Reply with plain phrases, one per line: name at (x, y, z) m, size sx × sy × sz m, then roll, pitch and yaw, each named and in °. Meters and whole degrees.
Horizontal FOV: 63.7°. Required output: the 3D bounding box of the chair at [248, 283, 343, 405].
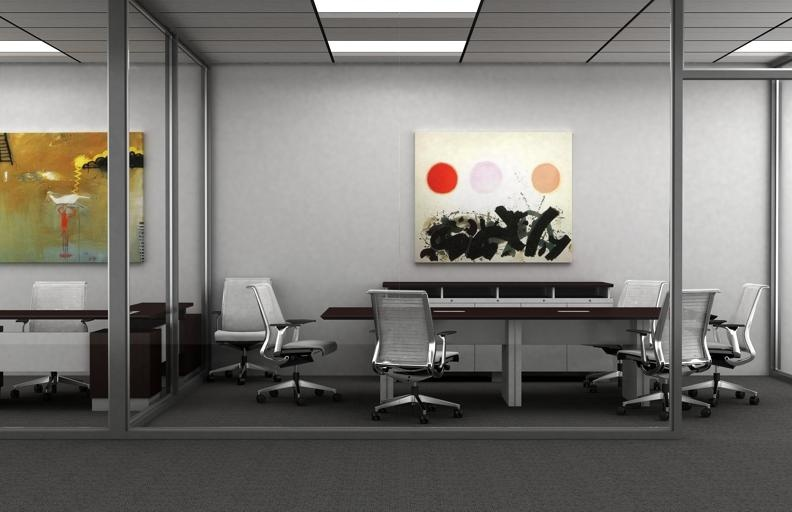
chair at (-1.054, 0.901, 6.661) m, size 0.962 × 1.130 × 0.927 m, roll 0°, pitch -4°, yaw 44°

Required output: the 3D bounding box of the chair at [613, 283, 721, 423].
chair at (2.752, 0.995, 6.572) m, size 0.935 × 1.181 × 0.903 m, roll 6°, pitch -8°, yaw -40°

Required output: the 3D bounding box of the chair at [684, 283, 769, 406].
chair at (3.491, 0.911, 6.852) m, size 0.876 × 1.208 × 0.808 m, roll 2°, pitch -5°, yaw 11°

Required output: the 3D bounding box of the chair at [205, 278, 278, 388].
chair at (-1.552, 0.734, 6.577) m, size 0.824 × 0.981 × 0.765 m, roll 1°, pitch -1°, yaw 34°

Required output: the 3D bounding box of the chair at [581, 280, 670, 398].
chair at (2.546, 0.902, 6.893) m, size 0.714 × 0.976 × 0.683 m, roll 15°, pitch -6°, yaw 36°
